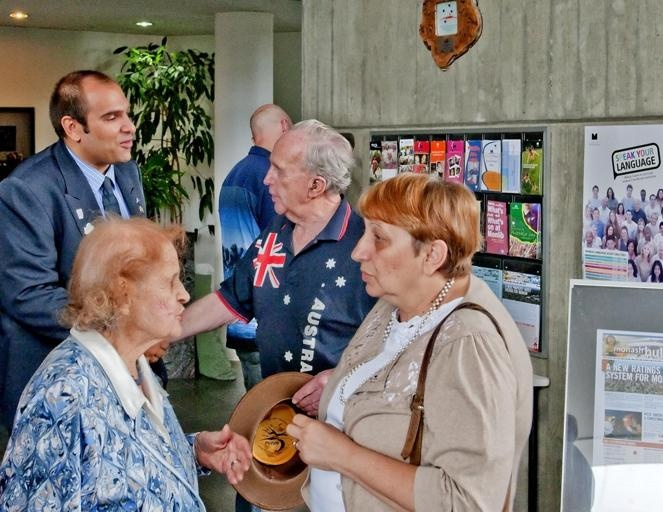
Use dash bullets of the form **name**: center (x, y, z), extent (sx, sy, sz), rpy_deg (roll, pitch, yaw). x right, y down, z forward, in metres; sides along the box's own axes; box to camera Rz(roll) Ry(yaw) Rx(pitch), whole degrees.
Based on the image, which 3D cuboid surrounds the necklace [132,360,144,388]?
- **necklace**: center (-0.609, 0.373, 2.435), extent (0.016, 0.066, 0.063), rpy_deg (-6, -5, -1)

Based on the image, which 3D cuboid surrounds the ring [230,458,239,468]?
- **ring**: center (-0.336, 0.716, 2.635), extent (0.020, 0.029, 0.008), rpy_deg (38, 3, 2)
